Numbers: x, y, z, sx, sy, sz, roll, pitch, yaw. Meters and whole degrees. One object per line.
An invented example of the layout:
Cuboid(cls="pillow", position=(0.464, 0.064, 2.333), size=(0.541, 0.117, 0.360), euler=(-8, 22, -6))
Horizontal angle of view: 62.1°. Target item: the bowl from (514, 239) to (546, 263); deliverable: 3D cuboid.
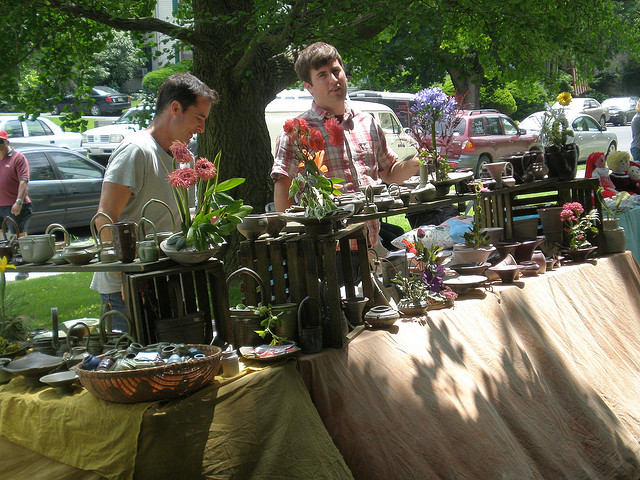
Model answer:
Cuboid(cls="bowl", position=(1.581, 0.083, 4.002), size=(0.143, 0.182, 0.167), euler=(-1, 6, -6))

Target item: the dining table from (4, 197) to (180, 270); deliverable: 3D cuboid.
Cuboid(cls="dining table", position=(-1.184, -0.023, 2.722), size=(0.890, 0.396, 0.999), euler=(-3, -3, -16))

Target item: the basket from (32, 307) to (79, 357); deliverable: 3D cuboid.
Cuboid(cls="basket", position=(-1.309, 0.442, 2.722), size=(0.244, 0.271, 0.270), euler=(1, -1, -8))

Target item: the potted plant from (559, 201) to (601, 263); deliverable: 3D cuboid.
Cuboid(cls="potted plant", position=(2.097, -0.059, 4.298), size=(0.258, 0.439, 0.309), euler=(-7, -3, -43))

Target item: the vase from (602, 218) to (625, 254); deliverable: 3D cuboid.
Cuboid(cls="vase", position=(2.482, -0.023, 4.463), size=(0.264, 0.273, 0.262), euler=(-1, 2, 38))

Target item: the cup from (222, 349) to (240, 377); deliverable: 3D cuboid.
Cuboid(cls="cup", position=(-0.390, 0.539, 2.308), size=(0.089, 0.147, 0.093), euler=(-1, -6, 0))

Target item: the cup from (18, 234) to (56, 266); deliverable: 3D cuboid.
Cuboid(cls="cup", position=(-1.350, 0.052, 2.535), size=(0.139, 0.116, 0.142), euler=(-2, -3, 0))

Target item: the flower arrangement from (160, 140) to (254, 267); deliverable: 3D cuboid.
Cuboid(cls="flower arrangement", position=(-0.530, -0.170, 2.424), size=(0.404, 0.577, 0.325), euler=(7, 11, 0))

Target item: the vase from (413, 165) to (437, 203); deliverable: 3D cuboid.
Cuboid(cls="vase", position=(0.706, -0.380, 3.584), size=(0.152, 0.236, 0.155), euler=(-8, 8, -12))

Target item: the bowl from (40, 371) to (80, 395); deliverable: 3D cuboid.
Cuboid(cls="bowl", position=(-1.120, 0.611, 2.288), size=(0.154, 0.066, 0.161), euler=(0, -1, 0))

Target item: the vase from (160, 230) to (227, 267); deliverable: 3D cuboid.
Cuboid(cls="vase", position=(-0.592, 0.040, 2.462), size=(0.296, 0.172, 0.208), euler=(-3, -3, -13))

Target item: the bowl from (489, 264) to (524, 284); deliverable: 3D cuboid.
Cuboid(cls="bowl", position=(1.291, 0.223, 3.654), size=(0.144, 0.071, 0.150), euler=(-3, 1, 0))

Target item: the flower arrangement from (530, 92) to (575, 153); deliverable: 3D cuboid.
Cuboid(cls="flower arrangement", position=(2.036, -1.002, 4.603), size=(0.266, 0.513, 0.331), euler=(-3, 19, 3))

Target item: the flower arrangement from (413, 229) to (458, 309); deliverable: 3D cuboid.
Cuboid(cls="flower arrangement", position=(0.694, 0.163, 3.282), size=(0.287, 0.457, 0.299), euler=(6, 17, 41))

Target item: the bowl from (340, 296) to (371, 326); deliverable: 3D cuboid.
Cuboid(cls="bowl", position=(0.197, 0.390, 2.888), size=(0.131, 0.102, 0.138), euler=(-2, -2, 0))

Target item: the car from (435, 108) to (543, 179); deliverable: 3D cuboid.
Cuboid(cls="car", position=(4.677, -2.672, 14.944), size=(3.484, 1.911, 1.552), euler=(-13, 19, -31))

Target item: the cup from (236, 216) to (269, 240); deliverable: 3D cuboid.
Cuboid(cls="cup", position=(-0.341, -0.056, 2.707), size=(0.118, 0.091, 0.123), euler=(-1, -1, 0))

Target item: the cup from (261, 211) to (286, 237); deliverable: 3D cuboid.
Cuboid(cls="cup", position=(-0.255, -0.085, 2.809), size=(0.118, 0.113, 0.118), euler=(0, 8, 0))

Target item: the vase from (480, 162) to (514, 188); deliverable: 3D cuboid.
Cuboid(cls="vase", position=(1.422, -0.534, 4.289), size=(0.215, 0.189, 0.237), euler=(-2, -1, -14))

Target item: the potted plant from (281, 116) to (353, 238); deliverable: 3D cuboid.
Cuboid(cls="potted plant", position=(-0.026, -0.332, 2.877), size=(0.363, 0.493, 0.588), euler=(-4, -2, 3))

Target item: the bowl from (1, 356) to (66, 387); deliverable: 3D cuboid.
Cuboid(cls="bowl", position=(-1.292, 0.553, 2.353), size=(0.152, 0.075, 0.179), euler=(-1, 0, -1))
